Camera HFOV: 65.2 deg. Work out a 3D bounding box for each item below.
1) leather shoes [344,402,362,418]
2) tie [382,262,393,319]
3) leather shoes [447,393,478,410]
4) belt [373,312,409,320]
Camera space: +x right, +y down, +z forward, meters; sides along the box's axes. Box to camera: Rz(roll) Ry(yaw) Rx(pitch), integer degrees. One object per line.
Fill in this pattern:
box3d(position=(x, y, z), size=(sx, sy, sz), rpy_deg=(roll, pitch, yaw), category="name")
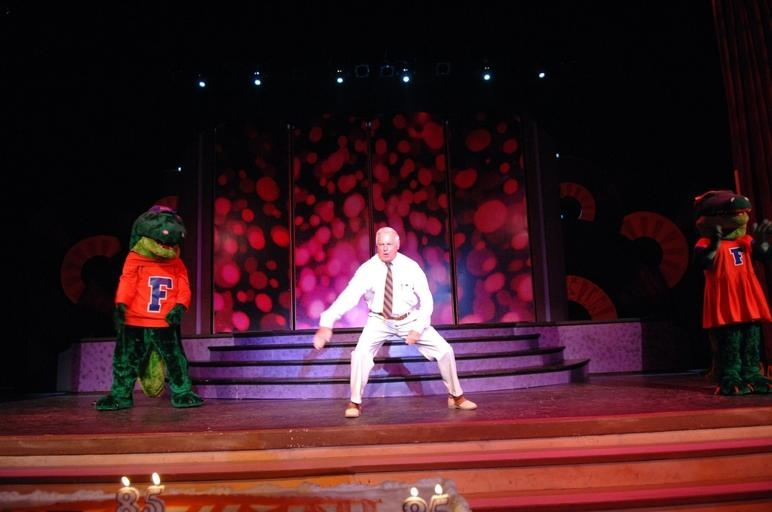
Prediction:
box3d(position=(-0.378, 1.760, 6.937), size=(0.188, 0.156, 0.284), rpy_deg=(-2, -8, -5), category="leather shoes")
box3d(position=(0.030, 0.407, 7.199), size=(0.127, 0.665, 0.040), rpy_deg=(-3, -7, -1), category="tie")
box3d(position=(0.895, 1.713, 7.103), size=(0.302, 0.143, 0.145), rpy_deg=(-3, -5, 15), category="leather shoes")
box3d(position=(0.078, 0.715, 7.175), size=(0.377, 0.095, 0.042), rpy_deg=(-3, -8, 1), category="belt")
